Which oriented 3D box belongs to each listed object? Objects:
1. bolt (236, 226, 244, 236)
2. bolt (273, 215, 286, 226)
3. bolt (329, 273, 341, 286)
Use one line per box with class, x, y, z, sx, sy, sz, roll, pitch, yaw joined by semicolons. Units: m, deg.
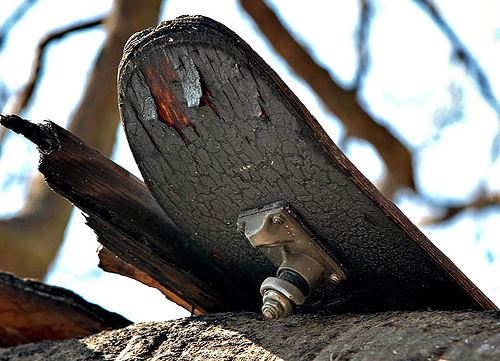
bolt;-0.052;0.281;5.728;0.010;0.025;0.071;-49;-8;-27
bolt;0.157;0.215;5.574;0.063;0.041;0.017;-15;8;21
bolt;0.459;0.541;5.624;0.048;0.022;0.063;3;-55;7
